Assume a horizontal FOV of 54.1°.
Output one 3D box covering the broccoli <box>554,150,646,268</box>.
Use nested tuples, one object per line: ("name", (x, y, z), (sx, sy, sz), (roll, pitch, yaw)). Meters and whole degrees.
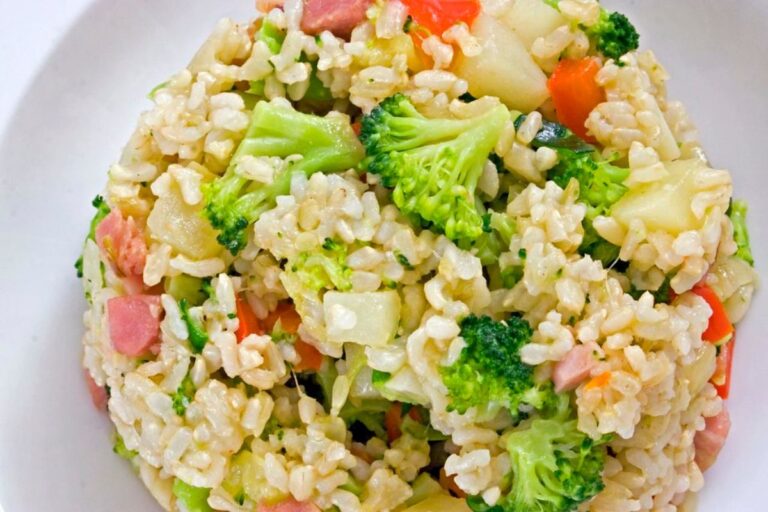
("broccoli", (1.038, -0.254, 3.875), (0.399, 0.487, 0.121), (4, 2, 13))

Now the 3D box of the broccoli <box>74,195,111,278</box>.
("broccoli", (-1.691, -0.095, 4.340), (0.102, 0.416, 0.320), (20, 13, -35))

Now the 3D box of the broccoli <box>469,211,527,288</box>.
("broccoli", (0.590, -0.034, 3.870), (0.096, 0.353, 0.341), (-1, -28, 41))

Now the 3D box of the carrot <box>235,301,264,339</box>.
("carrot", (-0.730, 0.335, 3.968), (0.059, 0.163, 0.159), (-22, -1, 30))

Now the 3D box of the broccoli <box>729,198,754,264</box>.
("broccoli", (2.100, -0.134, 4.435), (0.111, 0.362, 0.083), (15, -27, -31))
